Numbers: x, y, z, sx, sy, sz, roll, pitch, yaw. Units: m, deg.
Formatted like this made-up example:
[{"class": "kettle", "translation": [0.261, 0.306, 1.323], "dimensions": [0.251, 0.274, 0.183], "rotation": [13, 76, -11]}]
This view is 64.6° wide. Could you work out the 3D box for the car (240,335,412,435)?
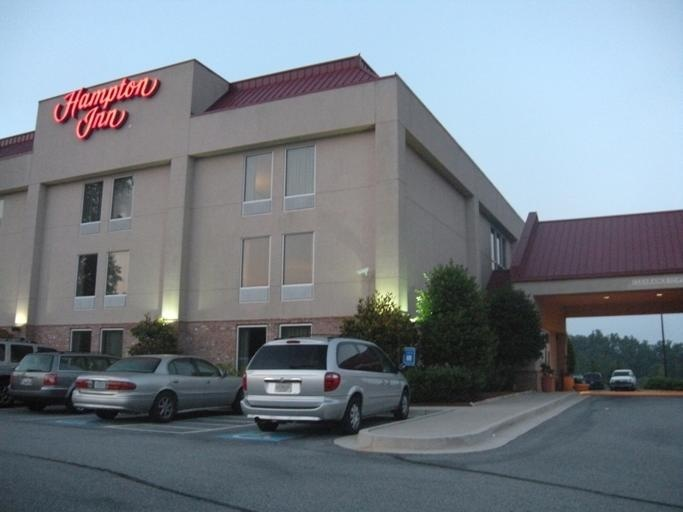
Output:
[{"class": "car", "translation": [-0.063, 3.061, 13.463], "dimensions": [1.992, 1.638, 3.809], "rotation": [-6, -10, 29]}]
